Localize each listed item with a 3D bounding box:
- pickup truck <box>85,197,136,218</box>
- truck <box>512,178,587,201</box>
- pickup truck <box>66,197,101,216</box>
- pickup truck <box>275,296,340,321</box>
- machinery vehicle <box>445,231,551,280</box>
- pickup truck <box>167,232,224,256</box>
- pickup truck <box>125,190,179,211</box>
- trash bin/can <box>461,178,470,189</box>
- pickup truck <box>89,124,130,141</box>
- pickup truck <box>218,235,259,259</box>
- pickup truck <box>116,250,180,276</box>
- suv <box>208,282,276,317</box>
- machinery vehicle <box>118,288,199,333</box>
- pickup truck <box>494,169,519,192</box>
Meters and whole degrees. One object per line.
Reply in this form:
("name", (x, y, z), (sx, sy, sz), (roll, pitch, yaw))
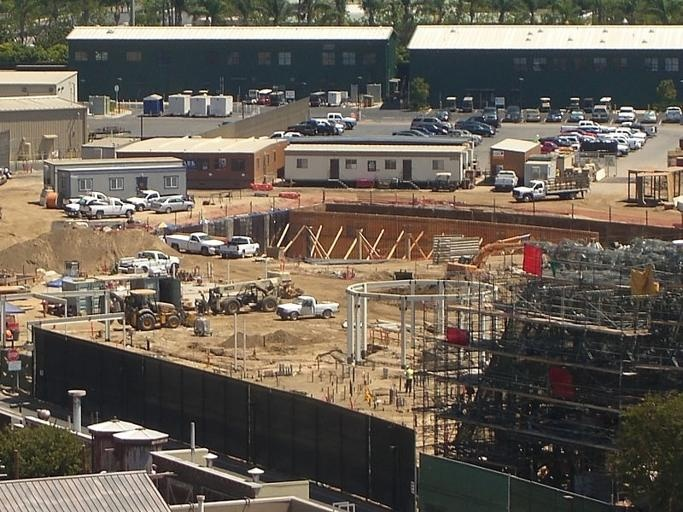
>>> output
("pickup truck", (-16.506, -3.505, 146.719), (2.989, 1.376, 1.460), (-4, 12, -14))
("truck", (15.924, -4.908, 156.112), (6.731, 2.027, 1.999), (-2, 4, -34))
("pickup truck", (-18.331, -3.656, 146.900), (2.370, 0.953, 1.159), (-15, 19, -37))
("pickup truck", (-2.198, 3.279, 127.933), (2.938, 1.363, 1.698), (0, 1, -20))
("machinery vehicle", (9.499, 0.819, 137.590), (4.641, 3.058, 5.057), (-9, 4, -26))
("pickup truck", (-10.058, -0.640, 141.465), (3.188, 1.373, 1.793), (5, 9, 19))
("pickup truck", (-14.372, -4.279, 150.615), (2.271, 0.920, 1.373), (-6, 10, -43))
("trash bin/can", (10.011, -5.885, 161.610), (0.785, 0.796, 0.718), (1, 8, 4))
("pickup truck", (-20.643, -11.321, 184.582), (3.647, 0.442, 7.819), (-1, 9, -5))
("pickup truck", (-6.772, -0.663, 141.634), (1.247, 1.129, 2.359), (6, 12, 37))
("pickup truck", (-12.588, 0.375, 134.431), (2.876, 1.426, 1.802), (-7, 12, -32))
("suv", (-6.167, 2.780, 129.165), (3.733, 2.063, 1.992), (-1, 2, -18))
("machinery vehicle", (-11.339, 3.074, 125.080), (3.240, 2.328, 1.911), (-6, 11, -24))
("pickup truck", (13.088, -6.040, 159.943), (1.205, 1.001, 2.640), (2, 13, 8))
